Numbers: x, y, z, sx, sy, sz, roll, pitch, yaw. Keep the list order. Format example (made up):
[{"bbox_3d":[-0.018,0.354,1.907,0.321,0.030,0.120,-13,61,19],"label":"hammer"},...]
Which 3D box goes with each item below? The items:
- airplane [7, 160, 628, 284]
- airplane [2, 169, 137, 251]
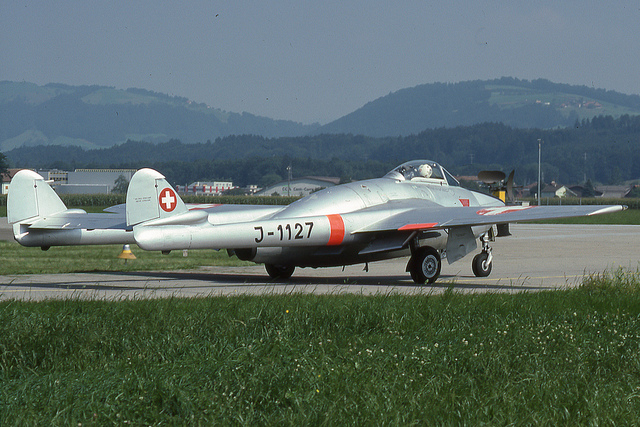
[{"bbox_3d":[-0.688,0.443,21.729,13.866,3.574,5.728,-3,7,-11],"label":"airplane"},{"bbox_3d":[-6.844,0.196,22.083,2.879,1.383,3.114,-2,5,-27],"label":"airplane"}]
